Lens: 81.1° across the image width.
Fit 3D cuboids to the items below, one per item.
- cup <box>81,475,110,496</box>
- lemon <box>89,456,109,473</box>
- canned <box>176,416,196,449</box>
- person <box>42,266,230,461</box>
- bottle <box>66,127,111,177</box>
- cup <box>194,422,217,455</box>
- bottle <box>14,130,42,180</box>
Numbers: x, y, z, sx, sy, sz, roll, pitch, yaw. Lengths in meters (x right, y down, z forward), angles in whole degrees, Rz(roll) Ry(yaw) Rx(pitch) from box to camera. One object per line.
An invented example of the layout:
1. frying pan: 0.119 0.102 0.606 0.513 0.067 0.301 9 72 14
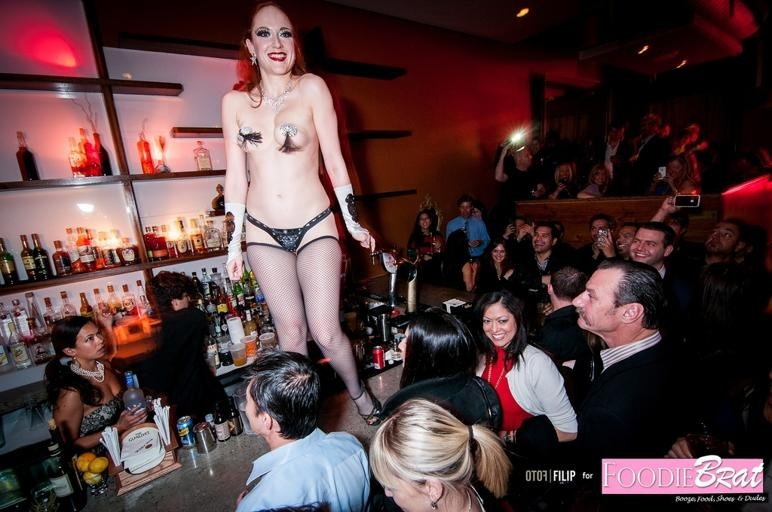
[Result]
1. cup: -2.033 1.602 3.137 0.093 0.138 0.131 -18 -3 27
2. lemon: -1.987 1.444 3.113 0.092 0.064 0.114 24 -30 -18
3. canned: -1.487 1.321 3.356 0.112 0.234 0.093 -10 10 -26
4. person: -2.071 0.914 3.677 1.113 1.348 0.529 -31 -1 -2
5. bottle: -2.818 -0.972 4.250 0.320 0.469 0.372 -11 10 -32
6. cup: -1.336 1.359 3.384 0.171 0.190 0.212 0 1 30
7. bottle: -3.247 -0.897 4.060 0.148 0.473 0.331 -13 11 -36
